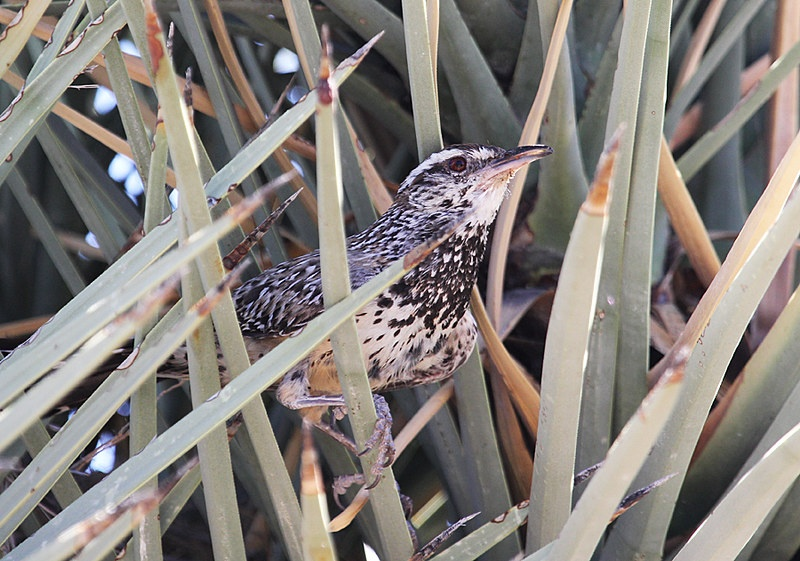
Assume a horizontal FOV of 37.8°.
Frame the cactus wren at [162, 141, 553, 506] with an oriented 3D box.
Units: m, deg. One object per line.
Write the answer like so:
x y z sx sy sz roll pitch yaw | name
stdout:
-0.181 0.039 2.739 1.045 0.791 0.526 10 4 42 | cactus wren
